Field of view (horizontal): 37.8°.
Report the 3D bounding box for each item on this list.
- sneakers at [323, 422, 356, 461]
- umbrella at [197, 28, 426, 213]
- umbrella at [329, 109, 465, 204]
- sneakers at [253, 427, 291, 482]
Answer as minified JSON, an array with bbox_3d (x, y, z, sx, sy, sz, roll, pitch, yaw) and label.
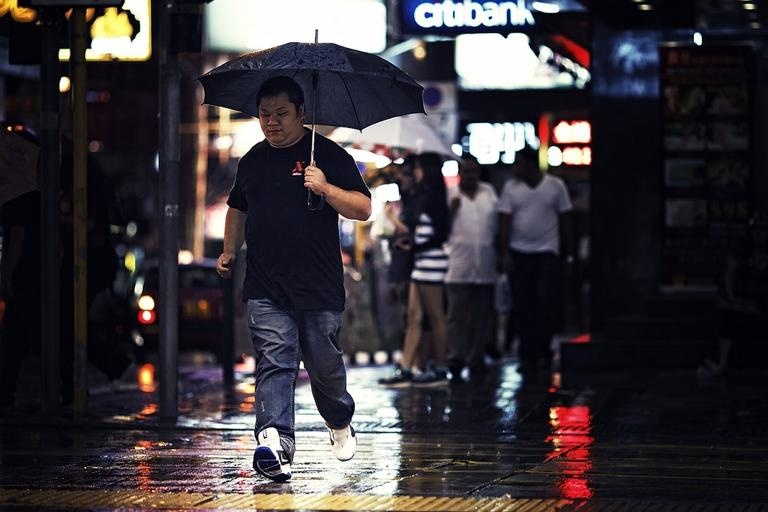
[{"bbox_3d":[-0.338,1.441,8.851,0.129,0.388,0.155,-12,7,9],"label":"sneakers"},{"bbox_3d":[-0.576,-1.370,9.092,1.535,1.156,1.552,4,-19,6],"label":"umbrella"},{"bbox_3d":[0.113,-1.084,12.578,1.874,0.666,1.879,6,-4,6],"label":"umbrella"},{"bbox_3d":[-0.826,1.490,8.367,0.199,0.231,0.471,-1,-25,14],"label":"sneakers"}]
